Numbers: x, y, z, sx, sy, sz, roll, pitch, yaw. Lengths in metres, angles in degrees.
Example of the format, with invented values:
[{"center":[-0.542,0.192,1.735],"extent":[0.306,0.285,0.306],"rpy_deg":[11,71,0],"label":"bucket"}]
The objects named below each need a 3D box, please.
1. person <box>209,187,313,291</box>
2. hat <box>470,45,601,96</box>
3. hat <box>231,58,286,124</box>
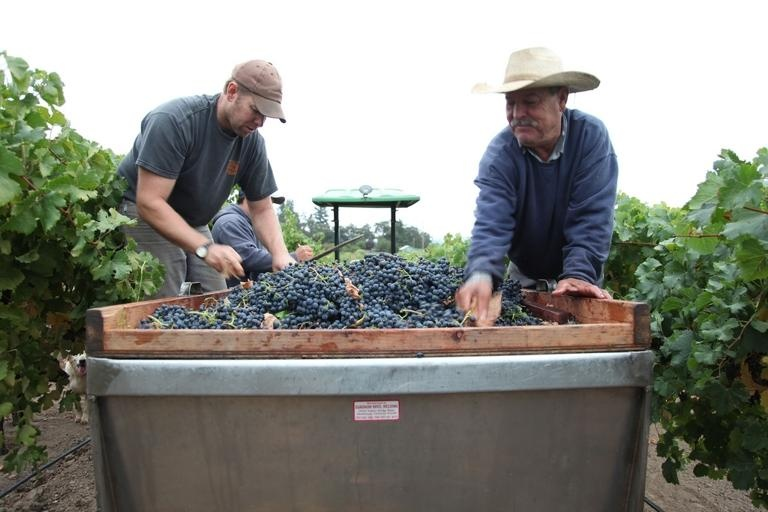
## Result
[{"center":[-1.520,-0.027,7.553],"extent":[1.017,1.909,1.311],"rpy_deg":[-2,-3,7],"label":"person"},{"center":[1.194,-1.429,4.814],"extent":[0.949,0.395,0.448],"rpy_deg":[1,-2,11],"label":"hat"},{"center":[-1.060,-1.401,5.221],"extent":[0.484,0.528,0.225],"rpy_deg":[1,-1,10],"label":"hat"}]
